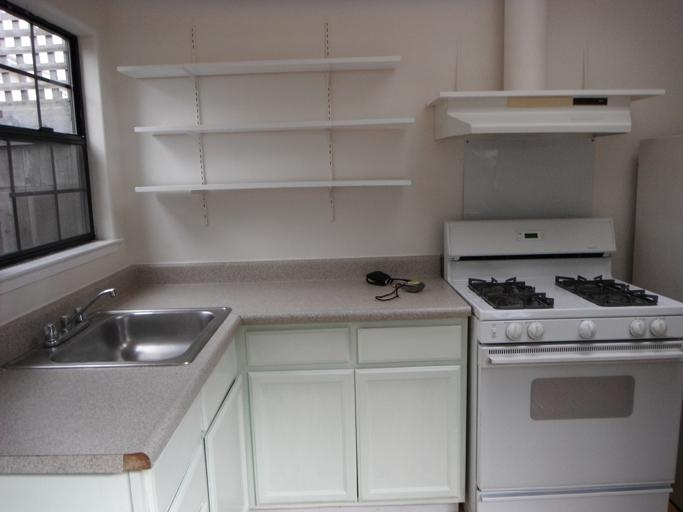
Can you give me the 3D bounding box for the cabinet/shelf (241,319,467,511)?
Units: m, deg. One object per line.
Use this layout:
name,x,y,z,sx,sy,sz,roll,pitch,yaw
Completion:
cabinet/shelf,0.059,0.763,2.966,0.969,0.339,0.844,-1,-86,1
